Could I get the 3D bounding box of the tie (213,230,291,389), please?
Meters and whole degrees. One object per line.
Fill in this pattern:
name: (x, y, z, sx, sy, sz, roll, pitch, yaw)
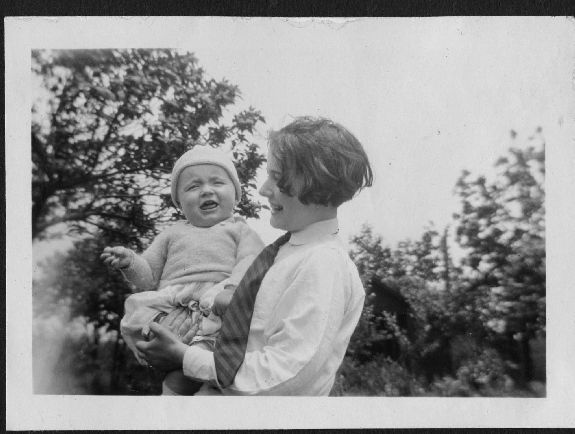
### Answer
tie: (-0.322, 0.724, 4.965, 0.262, 0.189, 1.236, 22, -42, 11)
